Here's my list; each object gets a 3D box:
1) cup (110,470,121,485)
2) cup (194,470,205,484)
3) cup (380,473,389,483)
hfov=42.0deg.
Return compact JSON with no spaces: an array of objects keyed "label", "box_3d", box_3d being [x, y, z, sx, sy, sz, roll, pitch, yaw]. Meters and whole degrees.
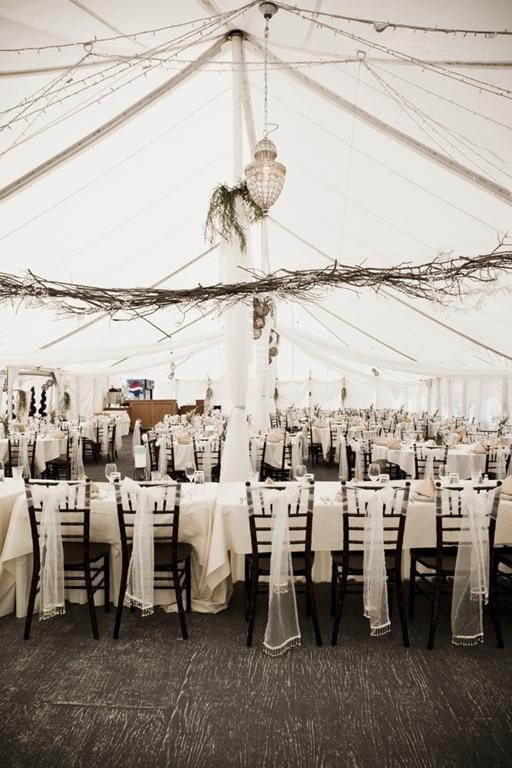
[{"label":"cup","box_3d":[-1.025,0.682,4.859,0.084,0.093,0.101,1,-8,-6]},{"label":"cup","box_3d":[-0.480,0.775,5.530,0.076,0.113,0.086,3,6,20]},{"label":"cup","box_3d":[1.011,0.735,5.256,0.048,0.081,0.073,1,-3,13]}]
